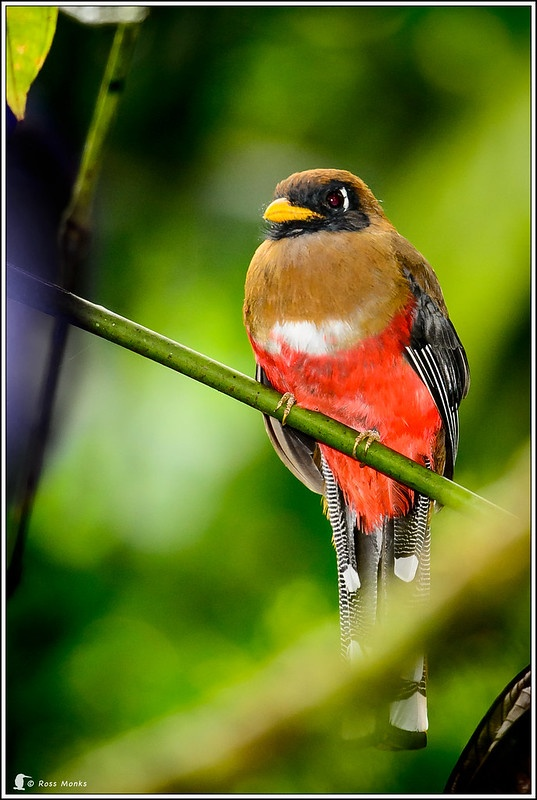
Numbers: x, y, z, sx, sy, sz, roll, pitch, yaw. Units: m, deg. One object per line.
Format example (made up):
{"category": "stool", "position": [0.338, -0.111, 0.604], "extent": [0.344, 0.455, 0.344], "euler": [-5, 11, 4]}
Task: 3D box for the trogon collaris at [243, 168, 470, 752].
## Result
{"category": "trogon collaris", "position": [0.211, 0.107, 2.200], "extent": [0.608, 1.425, 0.552], "euler": [3, 10, 14]}
